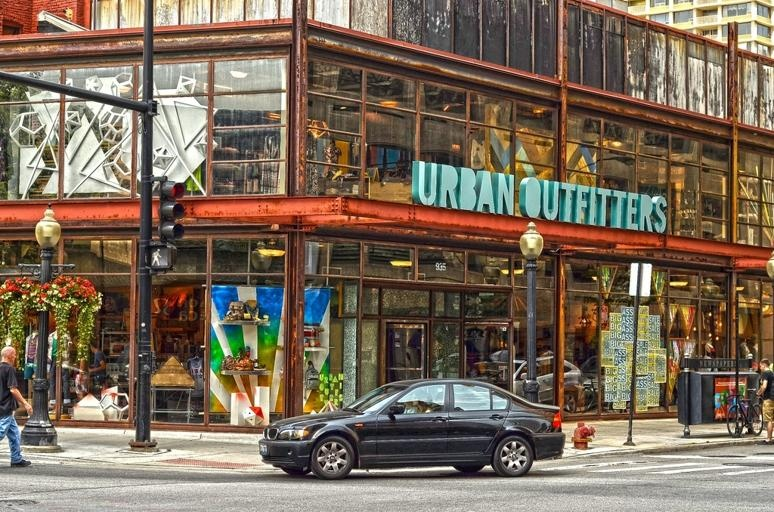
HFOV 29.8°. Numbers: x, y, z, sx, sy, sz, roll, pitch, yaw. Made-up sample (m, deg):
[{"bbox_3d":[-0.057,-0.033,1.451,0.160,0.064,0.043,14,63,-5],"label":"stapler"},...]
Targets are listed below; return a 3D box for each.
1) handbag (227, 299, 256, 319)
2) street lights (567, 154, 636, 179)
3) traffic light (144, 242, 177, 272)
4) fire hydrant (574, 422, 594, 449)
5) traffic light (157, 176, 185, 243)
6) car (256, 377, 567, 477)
[{"bbox_3d":[-4.294,1.586,42.922,0.702,0.483,0.563,5,-7,0],"label":"handbag"},{"bbox_3d":[7.311,-3.104,49.181,1.770,0.706,0.961,0,-12,-29],"label":"street lights"},{"bbox_3d":[-6.036,0.011,38.815,0.712,0.782,0.321,-3,-9,23],"label":"traffic light"},{"bbox_3d":[5.526,5.159,41.851,0.651,0.802,0.695,-3,-5,26],"label":"fire hydrant"},{"bbox_3d":[-5.785,-1.210,38.665,0.665,1.718,0.746,2,-8,-7],"label":"traffic light"},{"bbox_3d":[0.564,4.364,37.076,6.827,2.161,2.918,4,-11,-13],"label":"car"}]
